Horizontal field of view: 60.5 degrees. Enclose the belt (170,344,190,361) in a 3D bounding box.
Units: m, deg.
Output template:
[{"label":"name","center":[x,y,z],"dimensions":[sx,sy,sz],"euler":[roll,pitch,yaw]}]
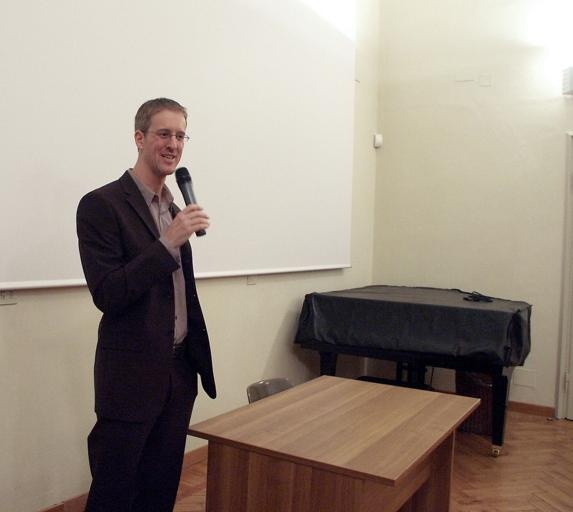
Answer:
[{"label":"belt","center":[-0.392,0.355,1.835],"dimensions":[0.017,0.061,0.056],"euler":[4,-2,23]}]
